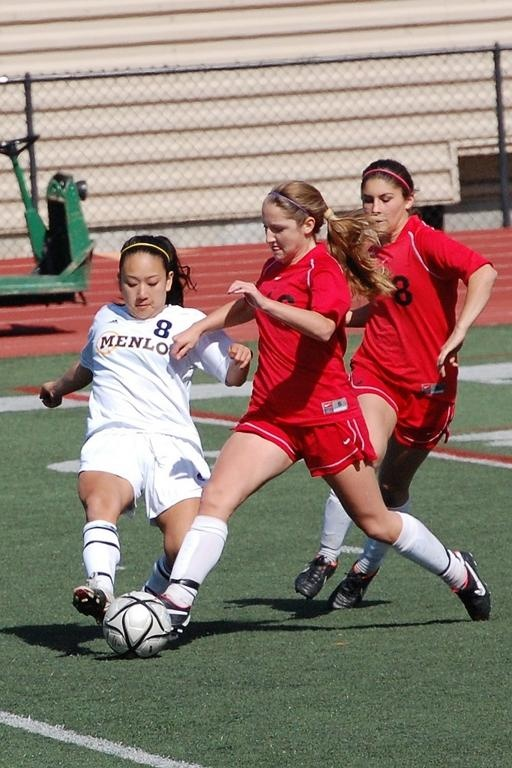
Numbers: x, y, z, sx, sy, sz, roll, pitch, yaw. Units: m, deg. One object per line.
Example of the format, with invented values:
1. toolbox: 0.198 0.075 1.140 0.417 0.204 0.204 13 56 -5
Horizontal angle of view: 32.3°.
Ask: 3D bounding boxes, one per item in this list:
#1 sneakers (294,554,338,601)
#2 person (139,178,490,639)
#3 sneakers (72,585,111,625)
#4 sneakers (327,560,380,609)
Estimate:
1. sneakers: 0.246 0.763 3.569 0.096 0.105 0.252 43 23 7
2. person: 0.186 0.051 2.887 0.570 1.398 1.000 -4 -3 38
3. sneakers: -0.489 0.632 2.532 0.073 0.137 0.067 -37 29 -5
4. sneakers: 0.369 0.813 3.521 0.096 0.266 0.108 49 13 9
